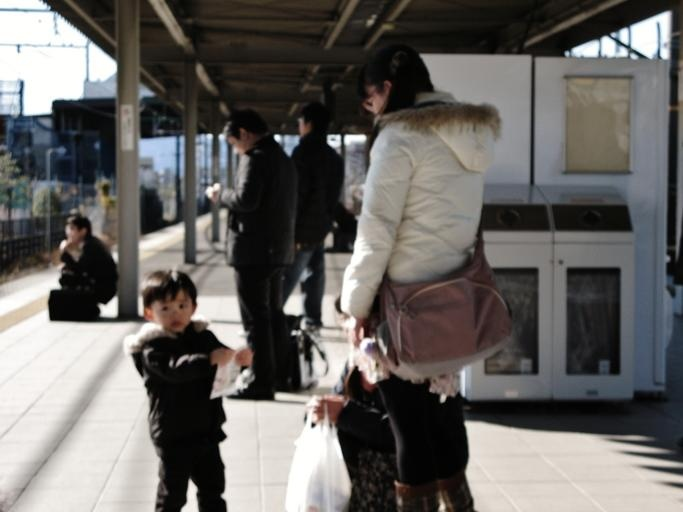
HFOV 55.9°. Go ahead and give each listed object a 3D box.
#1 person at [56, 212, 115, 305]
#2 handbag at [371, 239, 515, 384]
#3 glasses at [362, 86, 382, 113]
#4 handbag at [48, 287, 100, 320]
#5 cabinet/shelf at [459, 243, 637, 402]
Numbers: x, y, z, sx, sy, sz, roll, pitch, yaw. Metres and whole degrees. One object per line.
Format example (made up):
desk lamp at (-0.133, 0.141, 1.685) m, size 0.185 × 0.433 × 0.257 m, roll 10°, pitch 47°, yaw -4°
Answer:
person at (-3.035, 0.039, 7.725) m, size 0.657 × 1.064 × 0.281 m, roll -1°, pitch 4°, yaw -20°
handbag at (0.460, 0.187, 2.955) m, size 0.570 × 0.712 × 0.387 m, roll -14°, pitch -2°, yaw 2°
glasses at (0.150, -0.738, 3.009) m, size 0.111 × 0.051 × 0.087 m, roll 32°, pitch -1°, yaw -9°
handbag at (-3.177, 0.576, 7.741) m, size 0.562 × 0.400 × 0.309 m, roll -1°, pitch -5°, yaw 12°
cabinet/shelf at (1.579, 0.445, 5.213) m, size 1.335 × 1.333 × 0.782 m, roll 1°, pitch -1°, yaw -8°
